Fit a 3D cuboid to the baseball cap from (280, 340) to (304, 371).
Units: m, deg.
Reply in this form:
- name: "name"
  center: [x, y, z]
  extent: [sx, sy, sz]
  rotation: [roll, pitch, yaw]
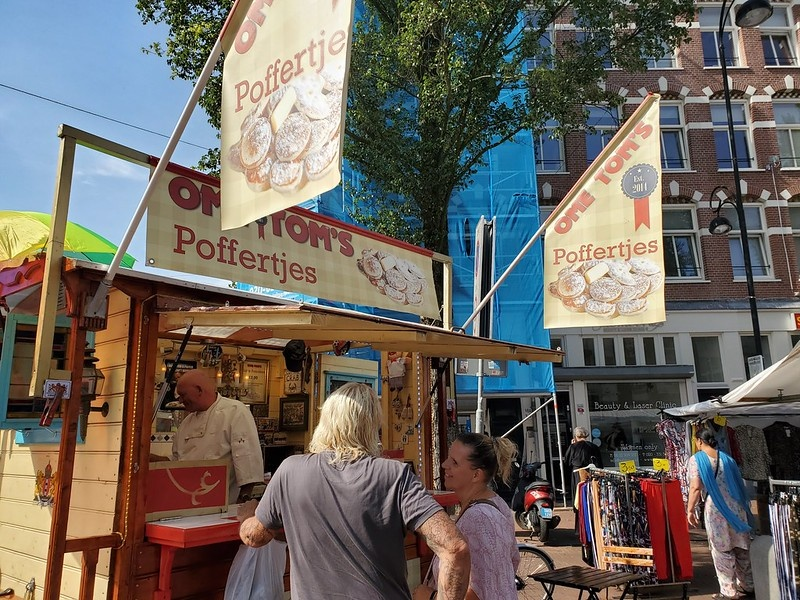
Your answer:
- name: "baseball cap"
  center: [-1.597, 0.824, 9.387]
  extent: [0.326, 0.530, 0.170]
  rotation: [-7, 13, -18]

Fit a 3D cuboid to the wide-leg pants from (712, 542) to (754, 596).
- name: "wide-leg pants"
  center: [4.713, 3.802, 8.783]
  extent: [0.580, 0.700, 0.331]
  rotation: [9, -17, -31]

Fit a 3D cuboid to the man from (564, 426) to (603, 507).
- name: "man"
  center: [3.808, 3.549, 13.258]
  extent: [0.605, 1.695, 0.453]
  rotation: [-5, 9, 6]

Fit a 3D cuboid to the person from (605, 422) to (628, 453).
- name: "person"
  center: [7.070, 4.449, 20.376]
  extent: [0.720, 0.885, 0.237]
  rotation: [3, -15, -13]

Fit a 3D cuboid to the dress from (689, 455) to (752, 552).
- name: "dress"
  center: [4.784, 2.847, 8.943]
  extent: [0.557, 1.281, 0.255]
  rotation: [20, -39, -20]

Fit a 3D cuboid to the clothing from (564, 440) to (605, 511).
- name: "clothing"
  center: [3.910, 3.658, 13.087]
  extent: [0.283, 1.333, 0.536]
  rotation: [29, -16, -15]

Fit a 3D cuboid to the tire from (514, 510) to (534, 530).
- name: "tire"
  center: [2.556, 4.556, 12.928]
  extent: [0.159, 0.523, 0.381]
  rotation: [1, -11, 26]

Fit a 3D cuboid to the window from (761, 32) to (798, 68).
- name: "window"
  center: [14.346, -9.463, 23.575]
  extent: [1.390, 1.730, 0.087]
  rotation: [-2, -7, -7]
